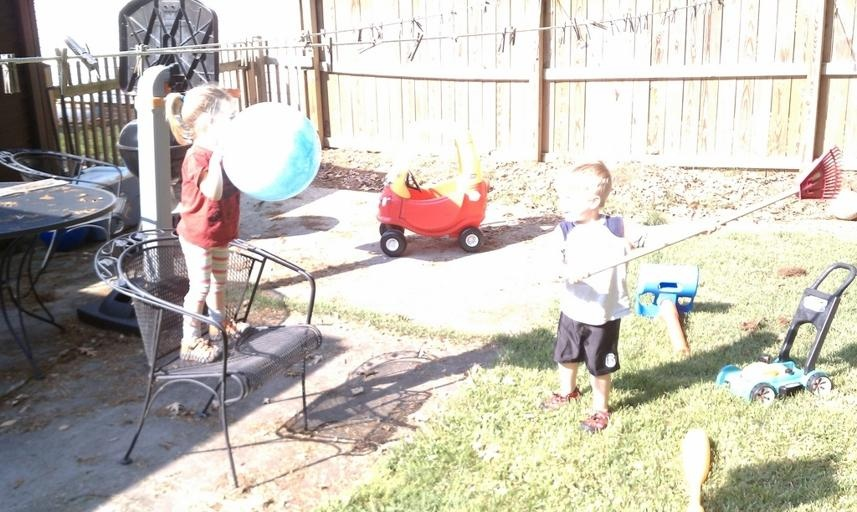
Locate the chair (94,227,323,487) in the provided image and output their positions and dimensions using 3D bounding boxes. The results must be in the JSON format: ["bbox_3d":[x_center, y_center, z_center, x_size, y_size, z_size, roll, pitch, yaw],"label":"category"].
[{"bbox_3d":[-1.670,0.687,4.960,1.376,1.408,1.537,8,14,15],"label":"chair"}]

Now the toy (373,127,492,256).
[{"bbox_3d":[0.055,-0.775,8.094,1.621,1.591,1.094,1,14,1],"label":"toy"}]

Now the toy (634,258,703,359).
[{"bbox_3d":[2.045,0.401,5.671,0.462,0.470,0.828,1,26,12],"label":"toy"}]

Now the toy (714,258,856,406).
[{"bbox_3d":[2.888,0.556,5.257,1.447,1.092,0.640,-8,13,-9],"label":"toy"}]

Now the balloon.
[{"bbox_3d":[-1.058,-0.679,4.350,0.618,0.651,0.356,-5,19,-18],"label":"balloon"}]

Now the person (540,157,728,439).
[{"bbox_3d":[1.132,0.275,4.622,0.660,1.854,0.519,4,18,9],"label":"person"}]

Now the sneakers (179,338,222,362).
[{"bbox_3d":[-1.675,0.684,4.796,0.287,0.117,0.159,3,24,21],"label":"sneakers"}]

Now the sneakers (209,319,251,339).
[{"bbox_3d":[-1.503,0.520,4.967,0.323,0.136,0.161,-6,6,5],"label":"sneakers"}]

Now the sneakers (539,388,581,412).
[{"bbox_3d":[0.953,1.061,4.917,0.332,0.123,0.118,-8,7,-6],"label":"sneakers"}]
